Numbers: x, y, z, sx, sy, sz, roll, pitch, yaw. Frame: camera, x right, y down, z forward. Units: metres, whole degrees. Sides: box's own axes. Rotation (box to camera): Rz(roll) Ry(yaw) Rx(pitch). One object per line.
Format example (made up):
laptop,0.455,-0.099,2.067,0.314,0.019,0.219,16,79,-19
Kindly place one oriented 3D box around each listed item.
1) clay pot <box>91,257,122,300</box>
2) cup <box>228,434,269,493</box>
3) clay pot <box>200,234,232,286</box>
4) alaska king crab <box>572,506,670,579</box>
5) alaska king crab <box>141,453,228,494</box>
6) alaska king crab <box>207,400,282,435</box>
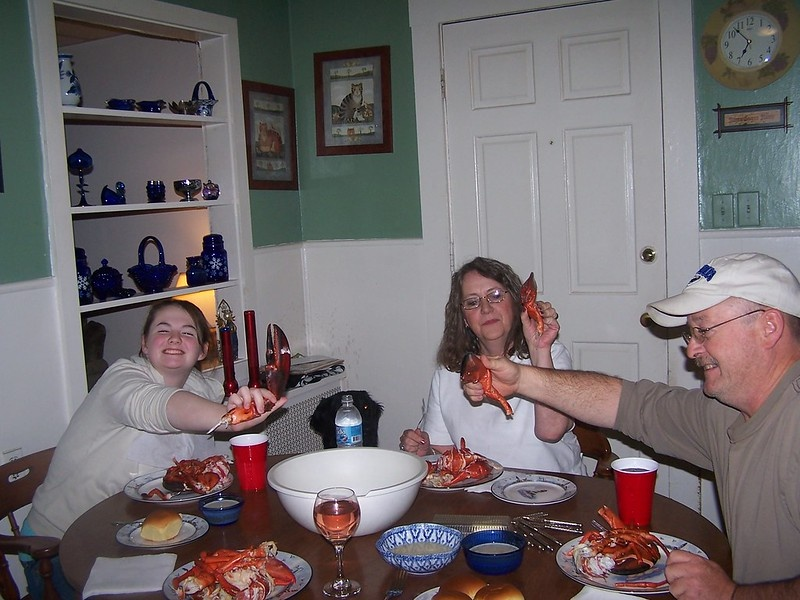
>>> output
clay pot,-1.445,-0.110,2.808,0.139,0.199,0.145,-3,14,1
cup,-0.418,0.449,1.592,0.136,0.151,0.141,-4,-3,0
clay pot,-1.035,-0.233,3.191,0.108,0.266,0.203,3,10,26
alaska king crab,0.457,0.510,1.205,0.204,0.084,0.202,-15,5,3
alaska king crab,-0.575,0.482,1.596,0.099,0.057,0.139,11,6,29
alaska king crab,-0.389,0.277,1.452,0.171,0.080,0.155,2,4,-39
